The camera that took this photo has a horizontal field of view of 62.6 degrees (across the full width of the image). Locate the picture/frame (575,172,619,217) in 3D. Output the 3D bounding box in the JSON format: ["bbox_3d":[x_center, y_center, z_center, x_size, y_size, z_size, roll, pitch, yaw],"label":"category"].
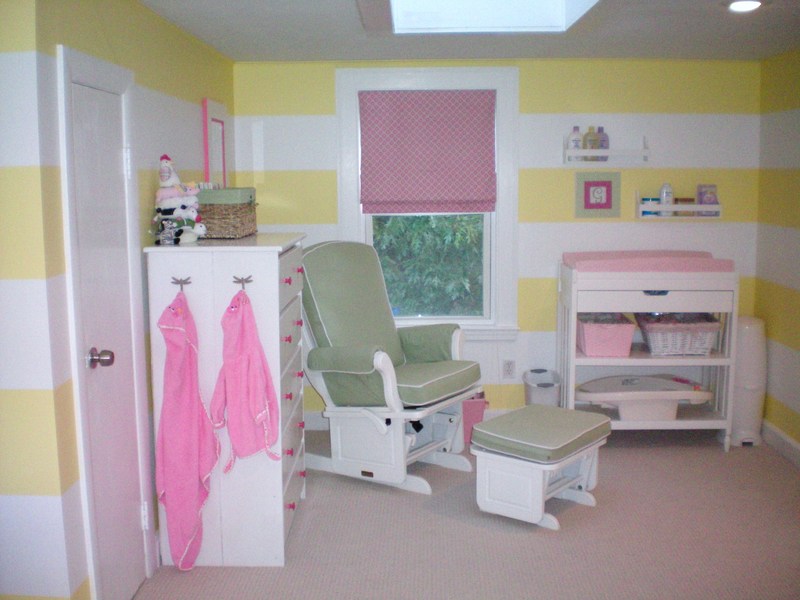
[{"bbox_3d":[1.400,-0.761,4.650,0.293,0.302,0.012,0,5,2],"label":"picture/frame"}]

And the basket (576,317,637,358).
[{"bbox_3d":[1.346,0.245,4.321,0.227,0.163,0.358,0,-1,5],"label":"basket"}]

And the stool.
[{"bbox_3d":[0.798,0.922,3.714,0.578,0.541,0.742,4,7,38],"label":"stool"}]

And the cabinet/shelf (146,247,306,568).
[{"bbox_3d":[-0.855,0.516,3.096,0.636,1.501,1.310,-3,9,-2],"label":"cabinet/shelf"}]

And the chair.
[{"bbox_3d":[-0.040,0.348,4.603,1.353,1.809,1.391,1,2,26],"label":"chair"}]

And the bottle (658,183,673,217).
[{"bbox_3d":[1.874,-0.701,4.610,0.079,0.215,0.082,-1,13,0],"label":"bottle"}]

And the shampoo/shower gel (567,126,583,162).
[{"bbox_3d":[1.228,-1.089,4.611,0.137,0.252,0.092,1,13,7],"label":"shampoo/shower gel"}]

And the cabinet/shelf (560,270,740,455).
[{"bbox_3d":[1.712,0.400,4.578,1.089,1.150,0.698,1,0,19],"label":"cabinet/shelf"}]

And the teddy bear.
[{"bbox_3d":[-1.124,-0.508,3.278,0.234,0.421,0.480,-5,14,-16],"label":"teddy bear"}]

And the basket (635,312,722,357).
[{"bbox_3d":[1.852,0.234,4.256,0.291,0.177,0.404,0,4,5],"label":"basket"}]
